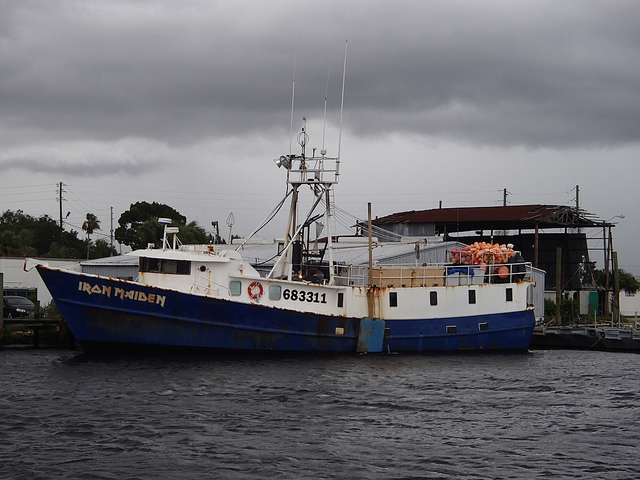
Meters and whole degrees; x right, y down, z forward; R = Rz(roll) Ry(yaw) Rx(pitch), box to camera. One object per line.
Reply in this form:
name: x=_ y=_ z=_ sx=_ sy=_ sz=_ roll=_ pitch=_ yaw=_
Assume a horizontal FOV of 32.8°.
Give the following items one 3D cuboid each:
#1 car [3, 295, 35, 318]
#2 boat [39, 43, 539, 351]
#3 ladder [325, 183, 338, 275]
car: x=-14.936 y=3.203 z=53.369 sx=0.944 sy=0.881 sz=2.243 roll=4 pitch=-8 yaw=-38
boat: x=-0.723 y=-0.779 z=46.262 sx=21.041 sy=11.908 sz=6.855 roll=2 pitch=-7 yaw=-21
ladder: x=0.400 y=-0.359 z=45.326 sx=0.284 sy=3.790 sz=0.469 roll=-9 pitch=23 yaw=-3
